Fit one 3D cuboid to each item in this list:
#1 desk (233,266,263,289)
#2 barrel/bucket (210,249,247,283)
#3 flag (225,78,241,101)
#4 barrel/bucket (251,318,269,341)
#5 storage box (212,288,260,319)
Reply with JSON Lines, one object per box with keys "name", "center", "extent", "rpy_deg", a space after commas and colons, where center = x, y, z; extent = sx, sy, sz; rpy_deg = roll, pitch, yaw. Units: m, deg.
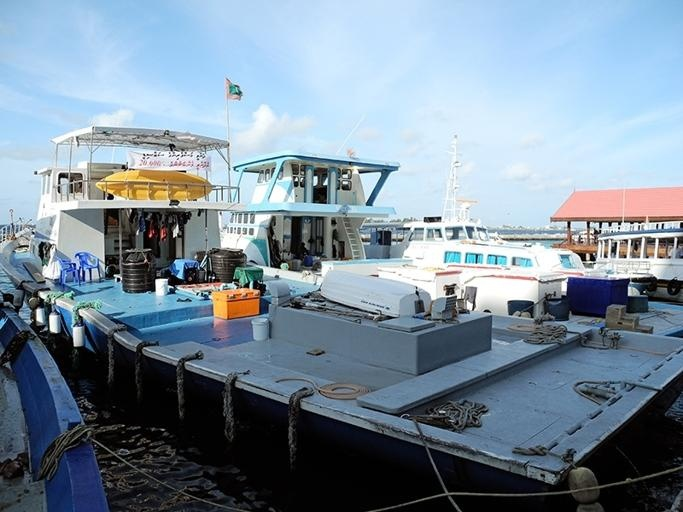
{"name": "desk", "center": [-2.655, 0.591, 12.719], "extent": [0.674, 0.360, 0.721], "rpy_deg": [-5, 10, -27]}
{"name": "barrel/bucket", "center": [-3.537, 0.289, 13.661], "extent": [1.130, 0.960, 1.025], "rpy_deg": [1, 2, 0]}
{"name": "flag", "center": [-4.226, -6.473, 17.260], "extent": [0.519, 0.765, 0.920], "rpy_deg": [-5, 14, -14]}
{"name": "barrel/bucket", "center": [-1.617, 1.469, 8.849], "extent": [0.392, 0.319, 0.406], "rpy_deg": [0, -4, 0]}
{"name": "storage box", "center": [-2.699, 1.188, 11.069], "extent": [0.775, 0.581, 1.118], "rpy_deg": [-2, -1, 40]}
